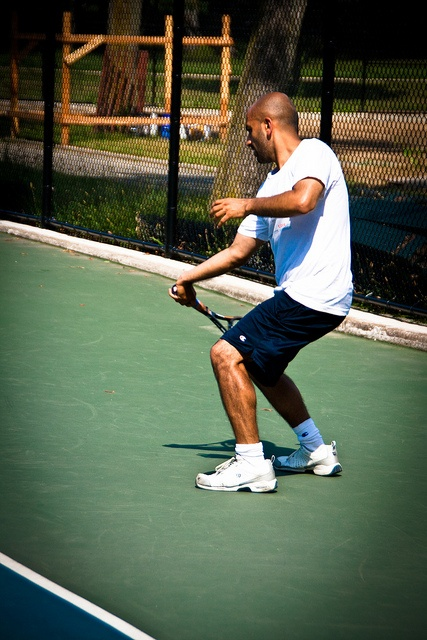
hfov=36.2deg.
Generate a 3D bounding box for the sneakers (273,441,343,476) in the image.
[{"bbox_3d":[0.476,0.668,3.236,0.366,0.169,0.140,0,-1,26],"label":"sneakers"}]

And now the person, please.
[{"bbox_3d":[0.263,-0.133,2.950,0.754,1.839,0.629,5,6,11],"label":"person"}]

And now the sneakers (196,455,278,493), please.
[{"bbox_3d":[0.135,0.711,2.990,0.409,0.200,0.150,1,-19,5],"label":"sneakers"}]
